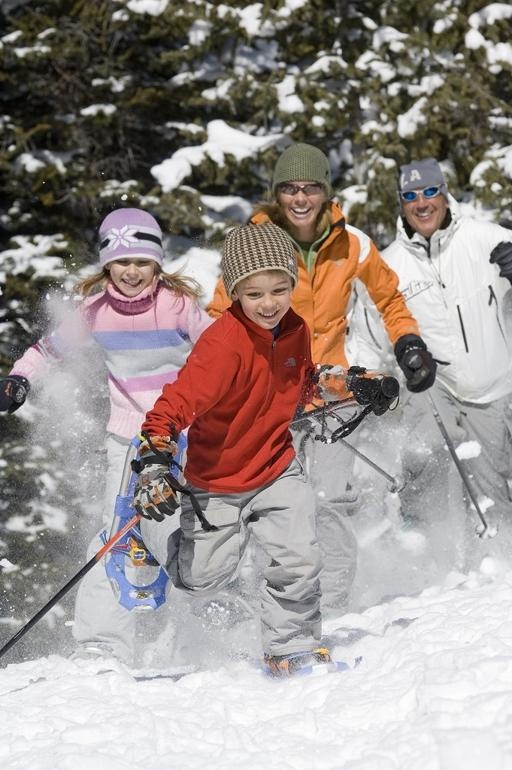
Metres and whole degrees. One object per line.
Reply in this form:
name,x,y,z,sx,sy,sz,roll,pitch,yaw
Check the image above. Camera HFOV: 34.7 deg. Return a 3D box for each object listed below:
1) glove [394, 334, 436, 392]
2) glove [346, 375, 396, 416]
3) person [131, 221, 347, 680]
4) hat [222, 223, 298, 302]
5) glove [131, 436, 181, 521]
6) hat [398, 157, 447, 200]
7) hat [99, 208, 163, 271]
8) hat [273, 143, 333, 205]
glove,0.764,-0.098,3.879,0.197,0.254,0.120,-27,-23,20
glove,0.515,0.046,3.574,0.208,0.173,0.175,-7,-8,5
person,-0.070,0.239,2.908,0.626,1.635,0.870,-8,-8,3
hat,0.007,-0.453,2.947,0.274,0.232,0.262,0,-19,-28
glove,-0.311,0.292,2.537,0.149,0.255,0.195,-6,-8,-7
hat,0.874,-1.103,4.461,0.299,0.185,0.200,-12,4,8
hat,-0.631,-0.690,3.895,0.338,0.222,0.319,-6,2,-22
hat,0.230,-1.102,4.113,0.281,0.181,0.250,-1,7,-14
